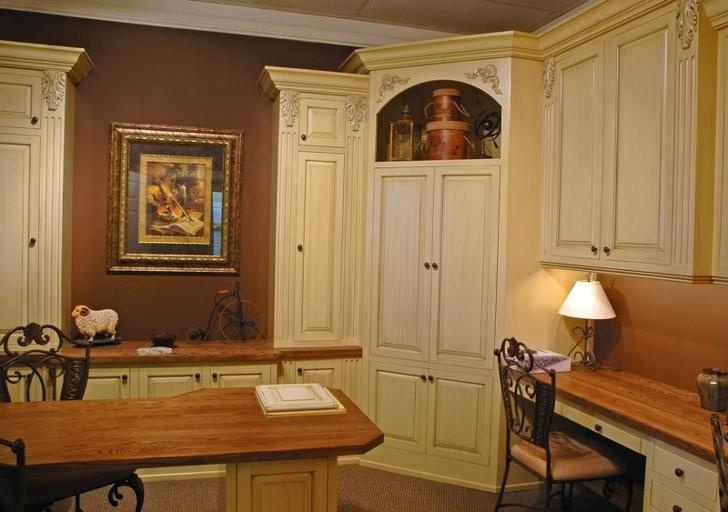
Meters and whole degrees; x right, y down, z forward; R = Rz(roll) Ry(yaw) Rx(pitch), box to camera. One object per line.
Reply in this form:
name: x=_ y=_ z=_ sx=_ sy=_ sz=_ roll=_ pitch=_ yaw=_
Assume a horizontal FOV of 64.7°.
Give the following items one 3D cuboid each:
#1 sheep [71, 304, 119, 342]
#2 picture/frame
sheep: x=-2.116 y=0.536 z=4.538 sx=0.251 sy=0.257 sz=0.367 roll=0 pitch=-5 yaw=45
picture/frame: x=-1.655 y=-0.505 z=4.874 sx=1.340 sy=1.515 sz=0.106 roll=1 pitch=-2 yaw=-15
